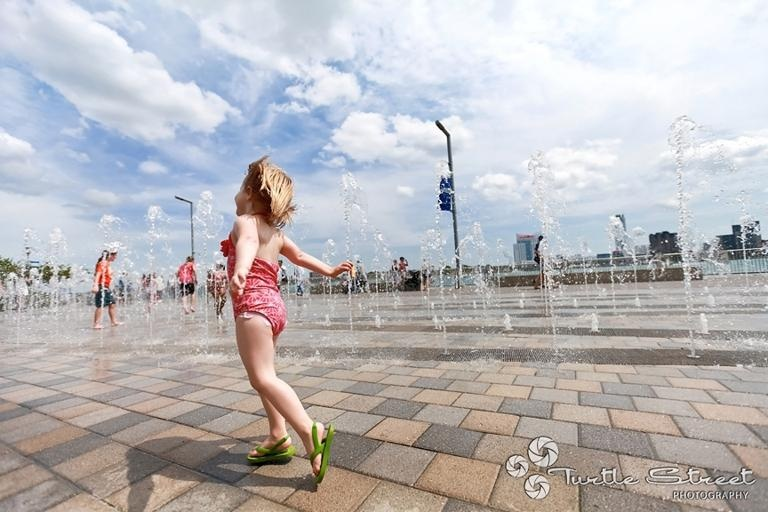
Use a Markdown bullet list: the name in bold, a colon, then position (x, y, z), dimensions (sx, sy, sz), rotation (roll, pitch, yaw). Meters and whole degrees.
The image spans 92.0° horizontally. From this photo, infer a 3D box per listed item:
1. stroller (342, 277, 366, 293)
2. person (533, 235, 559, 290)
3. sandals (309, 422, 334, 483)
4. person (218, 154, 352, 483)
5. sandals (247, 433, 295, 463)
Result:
- **stroller**: position (-2.019, 1.741, 24.417), dimensions (1.061, 1.297, 2.375), rotation (-8, -11, 20)
- **person**: position (7.080, 0.413, 16.580), dimensions (1.035, 2.897, 1.419), rotation (-6, 24, 16)
- **sandals**: position (-0.432, 1.343, 2.664), dimensions (0.160, 0.411, 0.166), rotation (2, -6, -6)
- **person**: position (-0.781, 0.394, 2.806), dimensions (0.754, 2.373, 0.937), rotation (-5, 4, -22)
- **sandals**: position (-0.868, 1.488, 2.949), dimensions (0.358, 0.191, 0.176), rotation (3, -10, -3)
